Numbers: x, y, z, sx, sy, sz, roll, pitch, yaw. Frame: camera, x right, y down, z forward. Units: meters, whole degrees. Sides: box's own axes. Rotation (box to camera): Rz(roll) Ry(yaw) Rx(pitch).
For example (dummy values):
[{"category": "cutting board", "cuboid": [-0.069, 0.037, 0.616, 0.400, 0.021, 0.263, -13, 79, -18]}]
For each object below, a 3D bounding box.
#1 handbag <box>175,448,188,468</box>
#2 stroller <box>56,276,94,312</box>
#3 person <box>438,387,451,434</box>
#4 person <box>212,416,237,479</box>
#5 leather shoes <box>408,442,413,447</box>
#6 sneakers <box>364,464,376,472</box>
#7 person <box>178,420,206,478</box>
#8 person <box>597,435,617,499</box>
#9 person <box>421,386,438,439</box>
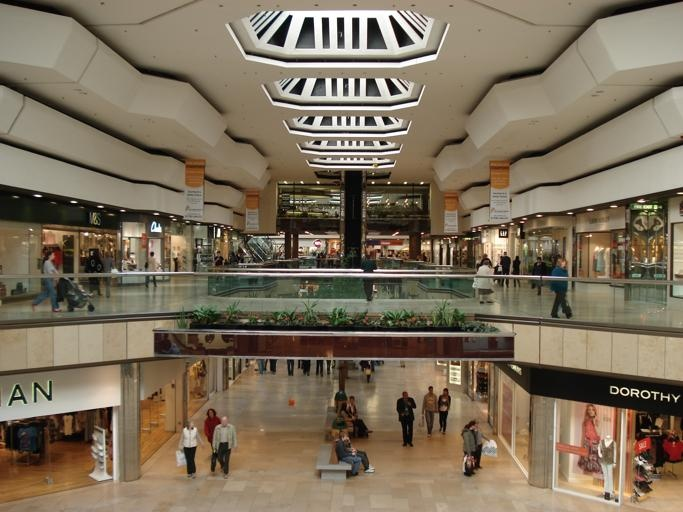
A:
[{"category": "handbag", "cuboid": [-4.774, 6.054, 15.252, 0.267, 0.499, 0.336, -1, 3, -18]}, {"category": "stroller", "cuboid": [-7.282, 0.951, 13.899, 0.887, 1.015, 0.834, -8, 18, -41]}, {"category": "person", "cuboid": [3.745, 5.584, 18.796, 0.393, 1.650, 0.950, 1, 3, 11]}, {"category": "person", "cuboid": [-3.550, 5.718, 15.378, 0.661, 1.771, 0.535, 0, 3, -6]}, {"category": "leather shoes", "cuboid": [2.371, 6.423, 17.397, 0.241, 0.107, 0.154, -3, 5, -43]}, {"category": "sneakers", "cuboid": [0.864, 6.509, 15.635, 0.303, 0.237, 0.174, 6, -6, -3]}, {"category": "person", "cuboid": [-4.803, 5.823, 16.064, 0.587, 1.659, 2.052, -1, 3, -17]}, {"category": "person", "cuboid": [7.293, 5.817, 14.053, 0.431, 1.725, 0.251, 2, 3, 28]}, {"category": "person", "cuboid": [3.229, 5.553, 18.592, 0.502, 1.845, 1.290, 1, 3, 10]}]
